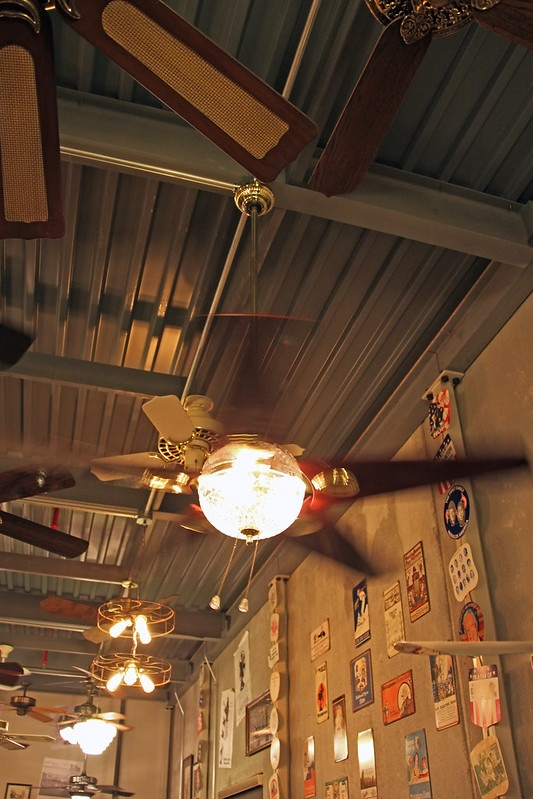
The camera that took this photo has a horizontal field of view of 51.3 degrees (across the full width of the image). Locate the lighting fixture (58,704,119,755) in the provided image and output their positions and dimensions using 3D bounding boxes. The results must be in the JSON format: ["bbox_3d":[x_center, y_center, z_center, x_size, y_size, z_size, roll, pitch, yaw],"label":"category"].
[{"bbox_3d":[-2.142,4.003,6.782,0.564,0.541,0.886,4,-32,-14],"label":"lighting fixture"}]

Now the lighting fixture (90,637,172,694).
[{"bbox_3d":[-1.248,2.336,5.289,0.555,0.671,0.533,8,-1,-36],"label":"lighting fixture"}]

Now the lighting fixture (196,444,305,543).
[{"bbox_3d":[-0.039,0.247,1.405,0.245,0.250,0.260,1,-15,1],"label":"lighting fixture"}]
